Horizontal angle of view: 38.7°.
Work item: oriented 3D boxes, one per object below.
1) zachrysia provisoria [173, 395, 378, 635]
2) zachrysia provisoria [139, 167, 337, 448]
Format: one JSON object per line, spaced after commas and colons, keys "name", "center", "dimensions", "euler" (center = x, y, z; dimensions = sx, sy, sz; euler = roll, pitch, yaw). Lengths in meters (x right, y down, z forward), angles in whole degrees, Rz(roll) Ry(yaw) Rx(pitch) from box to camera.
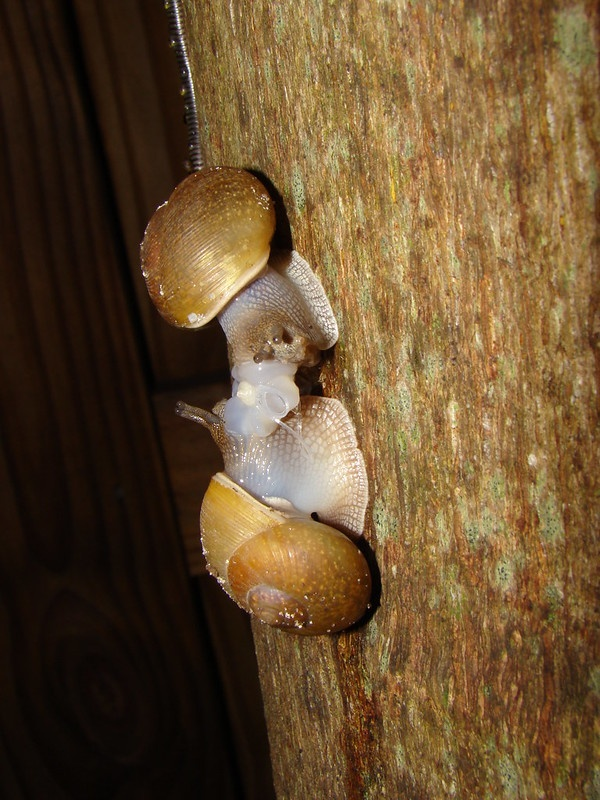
{"name": "zachrysia provisoria", "center": [-0.015, 0.077, 0.558], "dimensions": [0.102, 0.170, 0.067], "euler": [-3, -1, 37]}
{"name": "zachrysia provisoria", "center": [-0.028, -0.075, 0.610], "dimensions": [0.118, 0.192, 0.070], "euler": [-15, 4, 30]}
